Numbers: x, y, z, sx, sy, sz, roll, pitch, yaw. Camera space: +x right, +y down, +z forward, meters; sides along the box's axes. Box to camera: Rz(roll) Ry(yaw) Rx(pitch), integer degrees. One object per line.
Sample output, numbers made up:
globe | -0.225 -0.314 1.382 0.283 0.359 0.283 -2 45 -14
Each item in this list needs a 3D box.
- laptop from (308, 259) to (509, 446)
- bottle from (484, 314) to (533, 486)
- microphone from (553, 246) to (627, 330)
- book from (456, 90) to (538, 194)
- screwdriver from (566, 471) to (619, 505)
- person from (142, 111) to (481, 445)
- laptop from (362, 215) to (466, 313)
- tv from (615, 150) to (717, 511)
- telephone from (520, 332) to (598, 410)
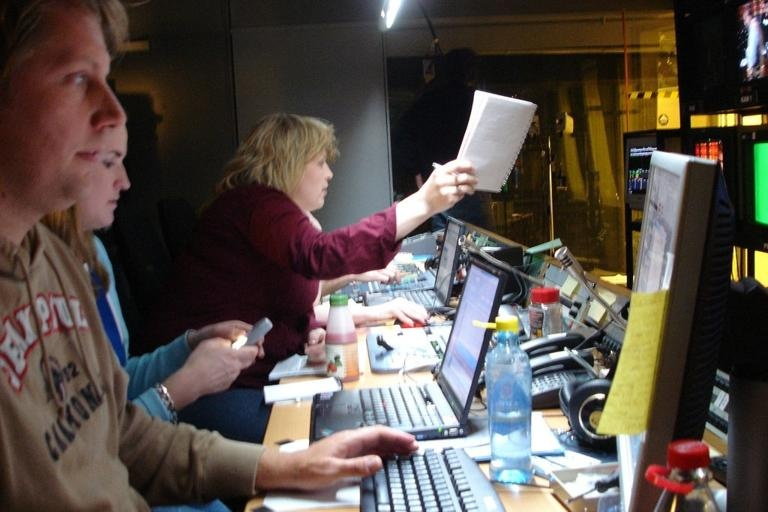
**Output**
laptop | 0.050 0.201 1.526 0.446 0.350 0.440 -4 7 -3
bottle | 0.274 0.311 1.230 0.097 0.339 0.102 -2 7 0
microphone | 0.980 0.120 2.612 0.410 0.071 0.094 51 34 16
book | 0.370 -0.405 1.946 0.261 0.354 0.107 2 33 -19
screwdriver | 0.413 0.461 1.117 0.097 0.031 0.027 -27 28 -10
person | -0.399 -0.056 2.727 1.358 1.966 0.878 8 9 -7
laptop | 0.154 0.088 2.866 0.430 0.426 0.559 1 8 -4
tv | 0.445 0.134 0.902 0.143 0.602 0.313 2 8 29
telephone | 0.489 0.303 1.571 0.190 0.069 0.202 -14 11 -2
